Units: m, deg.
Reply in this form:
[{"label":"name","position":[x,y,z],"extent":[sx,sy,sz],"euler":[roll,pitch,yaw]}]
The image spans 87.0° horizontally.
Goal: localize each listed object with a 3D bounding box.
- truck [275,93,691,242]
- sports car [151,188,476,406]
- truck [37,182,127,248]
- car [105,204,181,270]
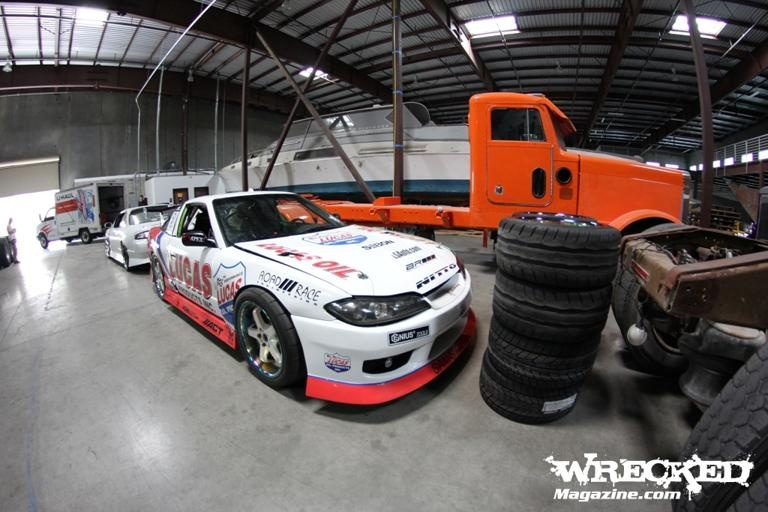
[{"label":"truck","position":[1.181,-1.360,7.858],"extent":[7.427,3.051,2.538],"euler":[5,13,27]},{"label":"sports car","position":[-1.036,0.259,4.493],"extent":[3.341,1.113,2.038],"euler":[14,22,29]},{"label":"truck","position":[-10.379,-1.592,14.919],"extent":[4.790,2.545,1.823],"euler":[6,8,35]},{"label":"car","position":[-5.426,-0.406,8.963],"extent":[2.721,0.935,1.346],"euler":[22,25,39]}]
